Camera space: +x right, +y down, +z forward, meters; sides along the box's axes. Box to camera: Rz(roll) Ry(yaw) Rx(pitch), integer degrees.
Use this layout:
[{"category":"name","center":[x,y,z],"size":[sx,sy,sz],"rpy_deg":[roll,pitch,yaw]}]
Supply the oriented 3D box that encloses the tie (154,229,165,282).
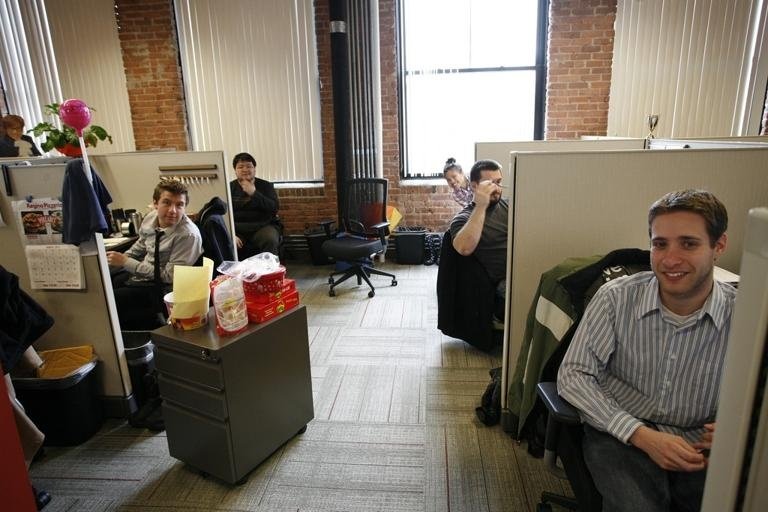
[{"category":"tie","center":[-1.645,0.008,3.799],"size":[0.060,0.406,0.055],"rpy_deg":[6,-2,35]}]

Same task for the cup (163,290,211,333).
[{"category":"cup","center":[-1.165,0.315,3.127],"size":[0.226,0.144,0.228],"rpy_deg":[2,9,0]}]

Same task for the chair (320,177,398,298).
[{"category":"chair","center":[-0.265,-0.243,5.654],"size":[0.779,1.147,1.146],"rpy_deg":[-3,18,0]}]

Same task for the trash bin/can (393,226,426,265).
[{"category":"trash bin/can","center":[0.324,-0.127,6.339],"size":[0.543,0.441,0.366],"rpy_deg":[0,8,3]}]

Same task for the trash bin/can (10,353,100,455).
[{"category":"trash bin/can","center":[-2.041,0.974,3.394],"size":[0.543,0.424,0.445],"rpy_deg":[0,12,-2]}]

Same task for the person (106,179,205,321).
[{"category":"person","center":[-1.746,0.008,3.879],"size":[0.734,1.096,0.467],"rpy_deg":[2,19,14]}]

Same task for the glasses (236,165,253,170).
[{"category":"glasses","center":[-1.516,-0.965,5.635],"size":[0.175,0.067,0.054],"rpy_deg":[-8,19,-16]}]

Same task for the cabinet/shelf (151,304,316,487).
[{"category":"cabinet/shelf","center":[-0.807,0.783,3.510],"size":[0.743,1.304,1.144],"rpy_deg":[3,9,22]}]

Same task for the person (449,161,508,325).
[{"category":"person","center":[0.722,-0.052,4.036],"size":[0.435,1.037,0.510],"rpy_deg":[1,18,10]}]

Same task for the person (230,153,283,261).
[{"category":"person","center":[-1.425,-0.570,5.770],"size":[0.508,1.119,0.851],"rpy_deg":[-7,18,-13]}]
